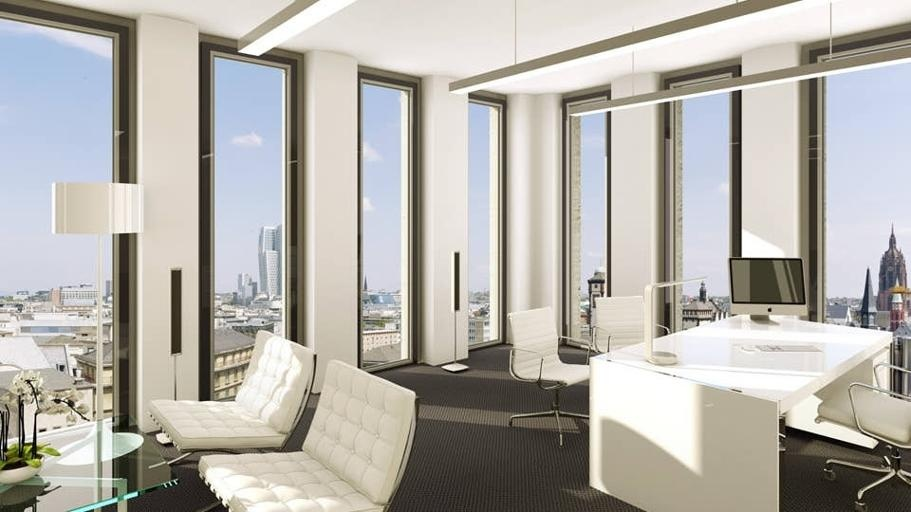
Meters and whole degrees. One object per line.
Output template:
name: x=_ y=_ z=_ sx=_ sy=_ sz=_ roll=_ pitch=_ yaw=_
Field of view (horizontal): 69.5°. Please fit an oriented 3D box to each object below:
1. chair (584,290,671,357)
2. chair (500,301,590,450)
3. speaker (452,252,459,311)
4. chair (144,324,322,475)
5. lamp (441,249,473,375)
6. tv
chair: x=2.238 y=0.915 z=9.107 sx=0.948 sy=0.970 sz=0.828 roll=-1 pitch=-3 yaw=-16
chair: x=1.198 y=1.473 z=8.471 sx=1.003 sy=1.595 sz=1.295 roll=-2 pitch=1 yaw=15
speaker: x=0.008 y=0.391 z=10.205 sx=0.135 sy=0.898 sz=0.061 roll=-3 pitch=2 yaw=-41
chair: x=-2.522 y=1.515 z=7.314 sx=1.735 sy=0.949 sz=1.696 roll=5 pitch=8 yaw=34
lamp: x=-0.050 y=0.857 z=10.241 sx=0.417 sy=1.854 sz=0.663 roll=-2 pitch=1 yaw=-2
tv: x=3.789 y=0.429 z=8.011 sx=0.928 sy=0.759 sz=0.291 roll=0 pitch=1 yaw=12
